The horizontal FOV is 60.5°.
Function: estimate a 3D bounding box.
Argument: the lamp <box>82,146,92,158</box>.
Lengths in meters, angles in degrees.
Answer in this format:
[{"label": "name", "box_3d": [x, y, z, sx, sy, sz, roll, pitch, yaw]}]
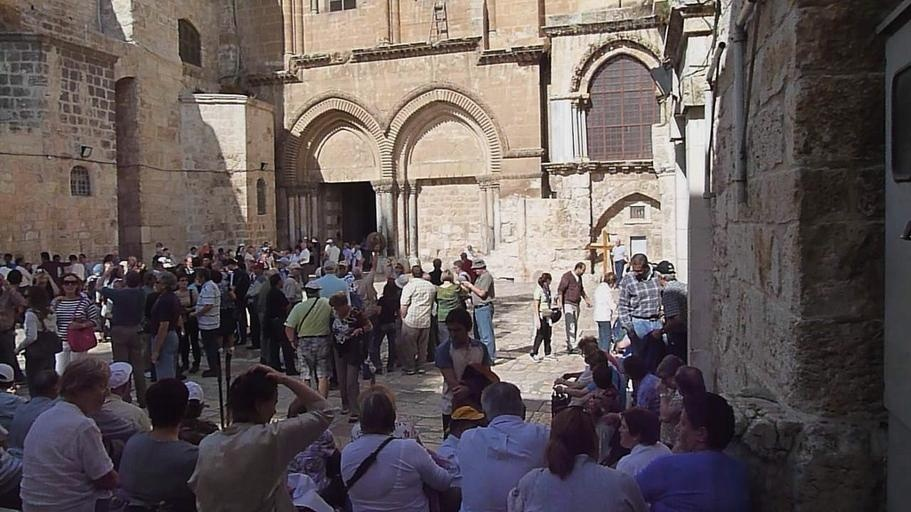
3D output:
[{"label": "lamp", "box_3d": [-10.783, -3.032, 22.756, 0.157, 0.377, 0.430, -3, -2, 13]}]

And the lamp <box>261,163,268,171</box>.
[{"label": "lamp", "box_3d": [-6.901, -3.188, 27.931, 0.253, 0.235, 0.259, 2, 0, 16]}]

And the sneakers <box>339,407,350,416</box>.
[{"label": "sneakers", "box_3d": [-1.803, 2.522, 12.749, 0.192, 0.129, 0.078, 6, 2, 19]}]

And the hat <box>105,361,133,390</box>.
[{"label": "hat", "box_3d": [-4.359, 1.546, 10.101, 0.248, 0.295, 0.528, -2, -2, -23]}]

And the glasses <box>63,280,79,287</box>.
[{"label": "glasses", "box_3d": [-6.331, 0.442, 12.805, 0.225, 0.093, 0.101, -1, -2, -34]}]

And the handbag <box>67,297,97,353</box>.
[{"label": "handbag", "box_3d": [-6.164, 1.129, 12.792, 0.422, 0.907, 0.332, -2, -2, -25]}]

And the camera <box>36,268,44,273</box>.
[{"label": "camera", "box_3d": [-8.772, 0.309, 16.422, 0.101, 0.092, 0.054, 0, 6, 2]}]

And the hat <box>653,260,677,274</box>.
[{"label": "hat", "box_3d": [3.488, 0.197, 12.758, 0.295, 0.118, 0.207, -8, 18, -43]}]

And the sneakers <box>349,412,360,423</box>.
[{"label": "sneakers", "box_3d": [-1.647, 2.570, 12.497, 0.129, 0.145, 0.437, -2, -2, -16]}]

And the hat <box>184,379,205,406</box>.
[{"label": "hat", "box_3d": [-3.257, 1.701, 9.727, 0.175, 0.250, 0.437, -2, -2, -23]}]

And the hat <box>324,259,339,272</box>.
[{"label": "hat", "box_3d": [-2.489, 0.209, 15.547, 0.306, 0.153, 0.405, -2, 3, -27]}]
